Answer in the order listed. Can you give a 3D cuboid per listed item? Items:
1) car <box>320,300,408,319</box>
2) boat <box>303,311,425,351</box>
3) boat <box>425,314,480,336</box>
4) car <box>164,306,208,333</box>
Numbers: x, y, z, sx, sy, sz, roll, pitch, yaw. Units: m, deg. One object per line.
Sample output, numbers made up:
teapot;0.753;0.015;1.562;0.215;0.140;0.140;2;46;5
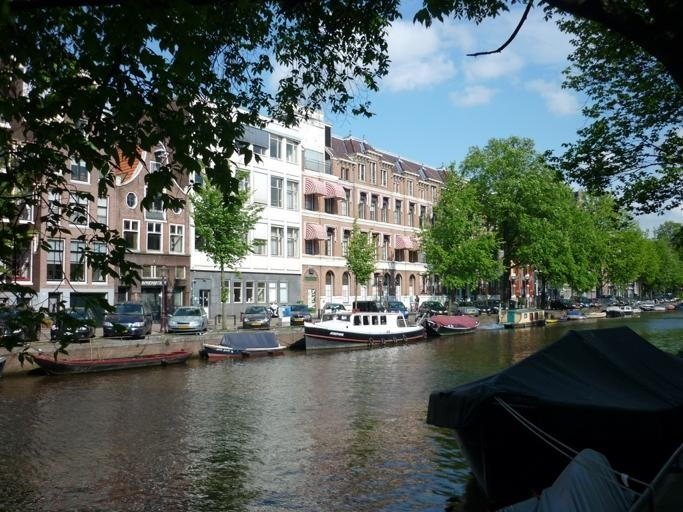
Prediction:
car;1.534;3.958;46.508;6.238;1.632;1.259;6;-9;-43
boat;1.406;4.434;37.765;1.191;2.078;9.275;0;-2;44
boat;8.150;5.145;46.794;1.671;1.215;5.050;1;-6;38
car;-8.733;3.621;35.525;1.860;1.012;2.290;1;-2;3
